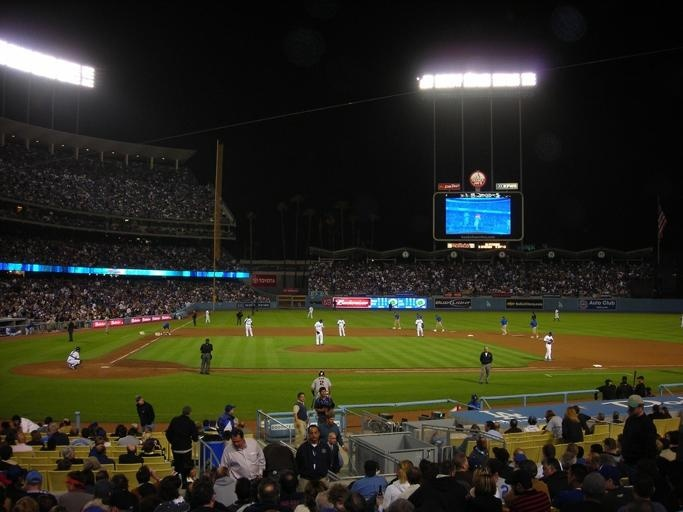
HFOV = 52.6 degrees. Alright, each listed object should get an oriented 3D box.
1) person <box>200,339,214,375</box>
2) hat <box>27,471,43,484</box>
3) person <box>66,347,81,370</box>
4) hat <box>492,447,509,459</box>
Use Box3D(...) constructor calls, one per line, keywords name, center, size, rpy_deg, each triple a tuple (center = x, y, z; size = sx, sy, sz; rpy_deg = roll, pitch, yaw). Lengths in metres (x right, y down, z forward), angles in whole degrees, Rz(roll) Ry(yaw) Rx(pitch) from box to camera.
Box3D(name="person", center=(-6.747, 4.932, 34.327), size=(0.496, 1.736, 1.000), rpy_deg=(2, -5, -8))
Box3D(name="hat", center=(-8.540, 6.063, 19.142), size=(0.390, 0.312, 0.276), rpy_deg=(2, -5, -16))
Box3D(name="person", center=(-13.520, 5.088, 34.897), size=(0.537, 1.086, 1.383), rpy_deg=(3, -5, -23))
Box3D(name="hat", center=(4.673, 5.808, 20.417), size=(0.323, 0.390, 0.411), rpy_deg=(-21, -31, 35))
